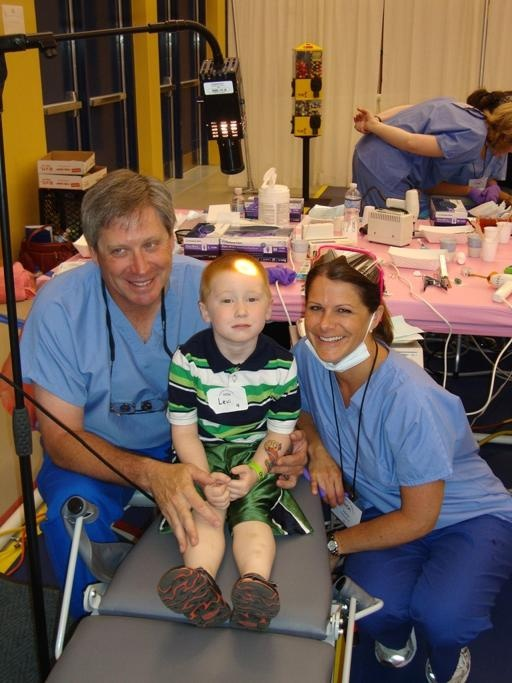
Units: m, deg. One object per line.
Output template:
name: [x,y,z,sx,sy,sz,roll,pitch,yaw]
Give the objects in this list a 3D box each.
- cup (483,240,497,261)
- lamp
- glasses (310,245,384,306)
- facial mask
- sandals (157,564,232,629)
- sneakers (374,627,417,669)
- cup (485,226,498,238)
cup: [1.001,-0.393,2.396,0.079,0.094,0.084,-1,6,0]
lamp: [-0.148,-0.956,2.334,0.195,0.459,0.344,2,15,-2]
glasses: [0.238,-0.140,1.442,0.188,0.190,0.102,18,23,29]
facial mask: [0.205,0.008,1.341,0.161,0.152,0.099,3,15,0]
sandals: [-0.098,0.407,0.928,0.075,0.129,0.061,-34,24,10]
sneakers: [0.376,0.845,1.542,0.116,0.079,0.096,17,-28,-37]
cup: [1.044,-0.490,2.473,0.055,0.039,0.053,0,11,0]
